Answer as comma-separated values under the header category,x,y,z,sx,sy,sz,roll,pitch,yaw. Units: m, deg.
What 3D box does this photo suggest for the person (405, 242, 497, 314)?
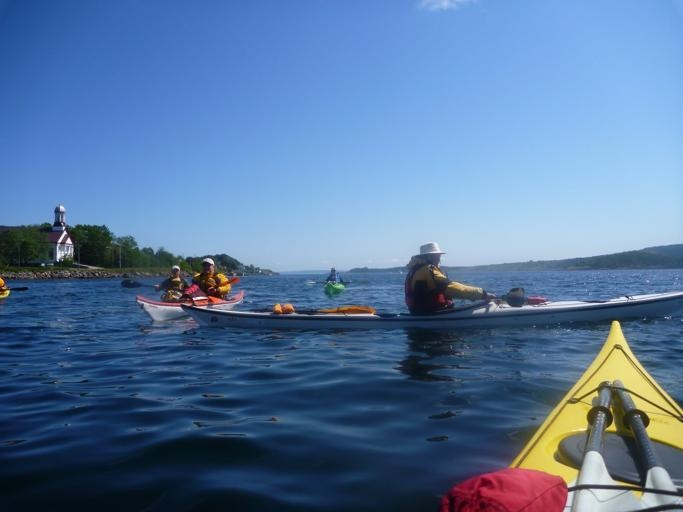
category,x,y,z,sx,sy,sz,roll,pitch,yaw
person,1.935,0.456,10.813,1.378,1.417,0.523,-2,7,4

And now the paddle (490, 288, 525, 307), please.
category,x,y,z,sx,sy,sz,roll,pitch,yaw
paddle,3.354,0.863,11.364,0.462,0.244,0.616,5,-10,-42

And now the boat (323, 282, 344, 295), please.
category,x,y,z,sx,sy,sz,roll,pitch,yaw
boat,-0.398,1.713,28.407,0.817,0.431,2.070,-1,-6,9

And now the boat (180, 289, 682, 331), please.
category,x,y,z,sx,sy,sz,roll,pitch,yaw
boat,1.985,1.270,12.734,9.364,0.604,1.357,-1,-2,-7

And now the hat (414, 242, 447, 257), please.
category,x,y,z,sx,sy,sz,roll,pitch,yaw
hat,1.696,-0.121,10.676,0.751,0.203,0.595,-2,-1,4

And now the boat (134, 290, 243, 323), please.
category,x,y,z,sx,sy,sz,roll,pitch,yaw
boat,-3.649,1.358,14.523,0.983,0.514,3.506,-3,-1,20
